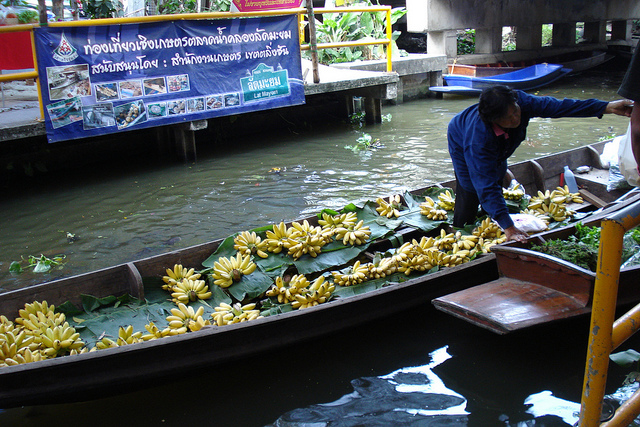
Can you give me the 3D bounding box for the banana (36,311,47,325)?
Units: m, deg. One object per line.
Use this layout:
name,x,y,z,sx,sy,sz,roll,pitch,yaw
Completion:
banana,-2.674,0.994,4.589,0.045,0.142,0.043,-15,-25,-39

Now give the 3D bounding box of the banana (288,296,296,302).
banana,-0.287,0.870,4.880,0.066,0.023,0.046,-11,-8,12

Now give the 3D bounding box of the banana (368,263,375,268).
banana,0.542,0.551,5.125,0.047,0.017,0.036,-9,35,-14

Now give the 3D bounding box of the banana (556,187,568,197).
banana,3.266,-0.310,6.467,0.039,0.042,0.170,8,22,-13

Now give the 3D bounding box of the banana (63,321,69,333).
banana,-2.387,1.047,4.478,0.048,0.068,0.016,15,-29,-12

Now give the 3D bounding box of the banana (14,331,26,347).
banana,-2.750,1.140,4.380,0.044,0.127,0.036,12,-21,38

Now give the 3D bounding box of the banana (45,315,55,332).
banana,-2.556,1.035,4.536,0.050,0.172,0.055,5,-33,-40

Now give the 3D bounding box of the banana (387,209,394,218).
banana,0.857,0.000,5.900,0.052,0.031,0.105,21,52,26

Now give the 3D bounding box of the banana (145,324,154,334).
banana,-1.612,1.075,4.515,0.036,0.134,0.035,-44,-1,43

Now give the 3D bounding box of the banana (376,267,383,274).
banana,0.628,0.605,5.076,0.061,0.049,0.033,-26,12,7

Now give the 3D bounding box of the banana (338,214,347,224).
banana,0.269,0.051,5.721,0.162,0.043,0.053,-50,13,-5

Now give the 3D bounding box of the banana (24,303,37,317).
banana,-2.818,0.925,4.650,0.051,0.164,0.048,-35,8,17

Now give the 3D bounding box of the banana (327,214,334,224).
banana,0.128,0.065,5.717,0.035,0.123,0.045,-34,-5,6

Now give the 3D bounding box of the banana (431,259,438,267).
banana,1.220,0.519,5.120,0.030,0.101,0.036,-9,-6,16

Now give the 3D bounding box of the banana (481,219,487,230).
banana,1.900,0.126,5.549,0.031,0.032,0.111,19,45,13

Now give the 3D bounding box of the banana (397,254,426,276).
banana,0.966,0.544,5.088,0.242,0.094,0.213,-27,46,7

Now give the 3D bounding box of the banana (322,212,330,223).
banana,0.071,0.040,5.724,0.047,0.134,0.037,-22,-9,-5

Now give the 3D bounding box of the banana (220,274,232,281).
banana,-0.995,0.664,5.026,0.152,0.040,0.050,16,30,-39

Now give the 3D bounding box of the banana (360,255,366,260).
banana,0.493,0.505,5.539,0.063,0.055,0.009,-1,-7,-5

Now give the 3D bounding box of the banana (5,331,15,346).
banana,-2.798,1.115,4.323,0.044,0.146,0.051,-11,13,-9

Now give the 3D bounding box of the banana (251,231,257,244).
banana,-0.755,0.269,5.440,0.046,0.126,0.045,0,-8,-43

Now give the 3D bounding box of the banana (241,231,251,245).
banana,-0.838,0.274,5.401,0.040,0.160,0.043,-29,1,3

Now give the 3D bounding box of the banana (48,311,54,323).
banana,-2.606,0.992,4.626,0.034,0.030,0.107,10,33,-28

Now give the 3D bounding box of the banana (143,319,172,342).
banana,-1.570,1.085,4.525,0.186,0.063,0.187,23,13,31

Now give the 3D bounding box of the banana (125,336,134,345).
banana,-1.747,1.158,4.369,0.066,0.041,0.099,-8,18,-8

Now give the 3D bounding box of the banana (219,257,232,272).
banana,-1.037,0.527,5.156,0.223,0.058,0.060,45,27,21

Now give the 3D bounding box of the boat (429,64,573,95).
boat,5.887,-4.314,15.486,4.207,0.784,1.807,-14,20,-28

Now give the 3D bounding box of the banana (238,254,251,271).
banana,-0.809,0.526,5.193,0.186,0.051,0.064,-57,16,-21

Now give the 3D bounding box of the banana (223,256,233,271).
banana,-0.996,0.539,5.134,0.034,0.145,0.039,-39,-12,14

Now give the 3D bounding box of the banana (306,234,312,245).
banana,-0.132,0.285,5.332,0.037,0.111,0.037,20,-16,-38

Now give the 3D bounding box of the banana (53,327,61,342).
banana,-2.417,1.099,4.382,0.037,0.119,0.040,-6,-12,-9

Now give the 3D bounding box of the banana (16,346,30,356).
banana,-2.660,1.227,4.277,0.123,0.032,0.038,-30,46,-8

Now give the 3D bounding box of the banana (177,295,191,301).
banana,-1.412,0.867,4.931,0.041,0.041,0.141,23,21,39

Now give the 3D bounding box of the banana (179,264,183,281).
banana,-1.502,0.613,5.140,0.035,0.133,0.022,6,-5,-39

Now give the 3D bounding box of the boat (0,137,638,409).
boat,-0.106,0.639,5.350,7.729,0.985,1.510,-13,30,-23

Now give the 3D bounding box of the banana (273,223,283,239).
banana,-0.492,0.195,5.466,0.059,0.182,0.040,-7,8,25

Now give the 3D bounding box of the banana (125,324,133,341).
banana,-1.753,1.102,4.426,0.037,0.125,0.043,20,-5,4
